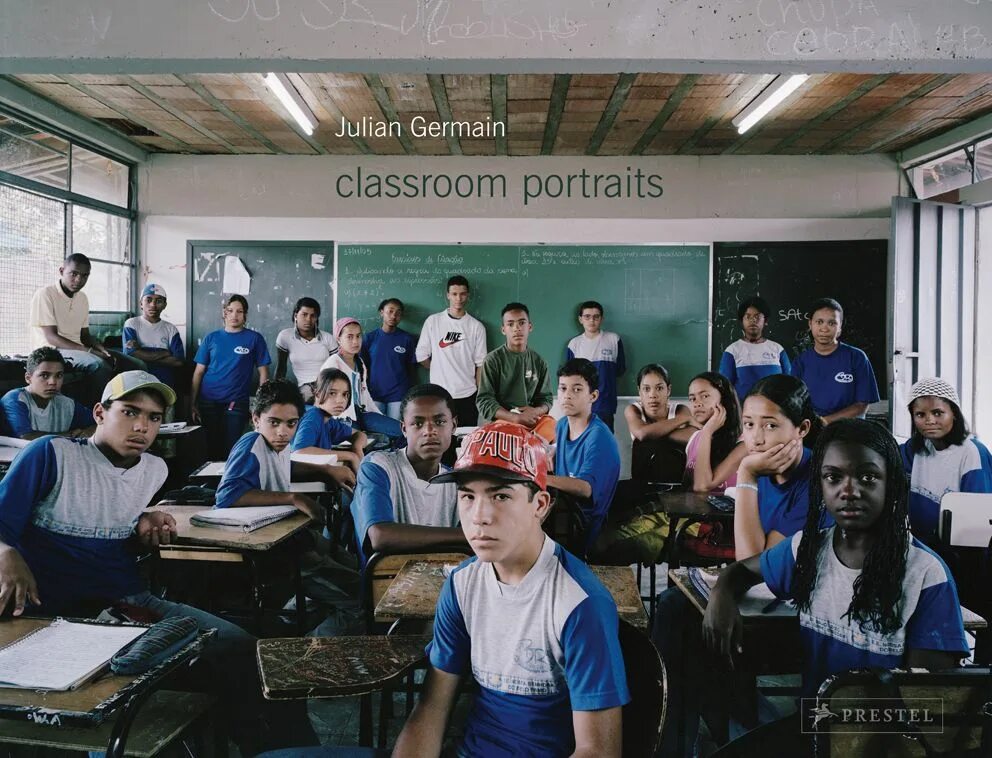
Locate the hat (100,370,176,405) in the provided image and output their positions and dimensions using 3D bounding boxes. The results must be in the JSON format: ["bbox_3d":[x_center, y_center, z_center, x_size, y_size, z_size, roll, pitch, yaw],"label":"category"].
[{"bbox_3d":[-1.421,0.042,3.177,0.198,0.098,0.155,-17,-19,42],"label":"hat"}]

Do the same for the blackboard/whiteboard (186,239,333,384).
[{"bbox_3d":[-1.874,-0.539,6.660,1.243,1.256,0.045,0,2,2],"label":"blackboard/whiteboard"}]

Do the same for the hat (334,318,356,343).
[{"bbox_3d":[-1.245,-0.408,6.585,0.175,0.229,0.209,4,-3,-14],"label":"hat"}]

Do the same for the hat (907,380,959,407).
[{"bbox_3d":[1.999,0.050,3.724,0.129,0.092,0.180,6,-5,24],"label":"hat"}]

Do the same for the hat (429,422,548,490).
[{"bbox_3d":[0.006,0.226,2.480,0.271,0.137,0.208,7,-10,-3],"label":"hat"}]

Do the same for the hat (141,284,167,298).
[{"bbox_3d":[-2.743,-0.714,6.537,0.166,0.136,0.171,8,-7,-17],"label":"hat"}]

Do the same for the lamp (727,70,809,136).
[{"bbox_3d":[1.746,-1.782,5.223,0.099,0.050,0.589,23,-7,-9],"label":"lamp"}]
